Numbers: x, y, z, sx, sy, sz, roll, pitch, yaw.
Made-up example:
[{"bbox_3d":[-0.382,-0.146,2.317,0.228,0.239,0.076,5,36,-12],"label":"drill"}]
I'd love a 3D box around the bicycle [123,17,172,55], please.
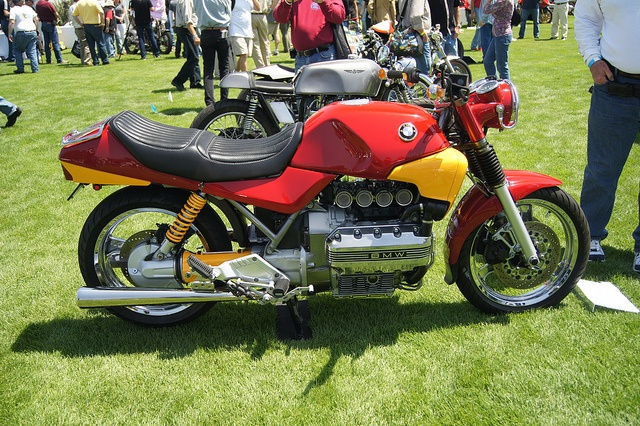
[{"bbox_3d":[-6.074,-6.304,20.594,1.860,1.345,1.032,1,-6,16],"label":"bicycle"}]

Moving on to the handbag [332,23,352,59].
[{"bbox_3d":[0.259,-2.378,8.091,0.154,0.526,0.111,-13,6,46],"label":"handbag"}]

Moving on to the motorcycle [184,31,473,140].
[{"bbox_3d":[0.065,-1.582,7.937,3.355,2.139,1.788,-2,9,2],"label":"motorcycle"}]

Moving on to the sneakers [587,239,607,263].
[{"bbox_3d":[2.898,0.404,6.092,0.096,0.134,0.286,-3,37,7],"label":"sneakers"}]

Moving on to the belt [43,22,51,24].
[{"bbox_3d":[-8.552,-5.925,18.279,0.140,0.060,0.118,6,30,7],"label":"belt"}]
